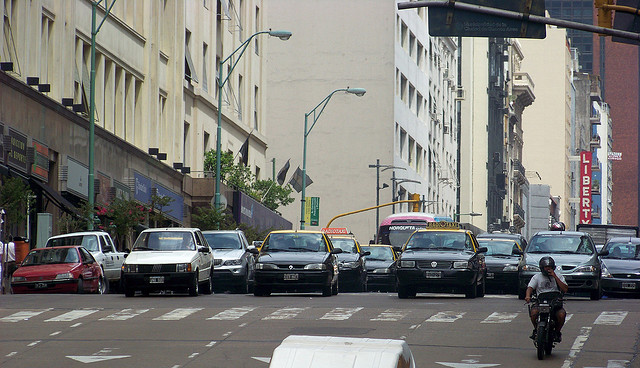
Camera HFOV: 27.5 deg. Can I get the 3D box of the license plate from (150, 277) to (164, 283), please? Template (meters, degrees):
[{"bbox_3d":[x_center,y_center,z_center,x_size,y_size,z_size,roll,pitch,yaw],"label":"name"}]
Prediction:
[{"bbox_3d":[-6.965,4.110,55.848,0.583,0.252,0.077,-1,-8,-10],"label":"license plate"}]

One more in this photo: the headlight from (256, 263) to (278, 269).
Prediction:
[{"bbox_3d":[-2.317,3.539,56.349,0.938,0.255,0.148,-5,-8,23],"label":"headlight"}]

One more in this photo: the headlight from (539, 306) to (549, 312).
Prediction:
[{"bbox_3d":[7.886,4.402,45.957,0.246,0.208,0.118,-1,1,5],"label":"headlight"}]

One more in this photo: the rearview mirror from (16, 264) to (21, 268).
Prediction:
[{"bbox_3d":[-14.091,3.842,61.079,0.150,0.248,0.276,0,-1,0],"label":"rearview mirror"}]

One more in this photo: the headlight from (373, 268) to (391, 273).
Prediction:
[{"bbox_3d":[3.009,4.232,63.624,0.792,0.234,0.139,-2,-8,2],"label":"headlight"}]

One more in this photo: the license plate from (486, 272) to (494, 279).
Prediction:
[{"bbox_3d":[7.873,4.246,60.382,0.395,0.238,0.204,0,-3,6],"label":"license plate"}]

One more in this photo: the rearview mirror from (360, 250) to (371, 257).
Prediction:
[{"bbox_3d":[2.211,3.439,64.139,0.389,0.179,0.480,-1,-4,-2],"label":"rearview mirror"}]

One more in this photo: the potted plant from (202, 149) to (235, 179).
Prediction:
[{"bbox_3d":[-6.807,-1.410,85.170,2.346,1.571,2.211,-1,-30,0],"label":"potted plant"}]

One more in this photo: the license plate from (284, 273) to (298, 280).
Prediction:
[{"bbox_3d":[-1.245,3.984,56.111,0.564,0.278,0.102,-1,-8,-5],"label":"license plate"}]

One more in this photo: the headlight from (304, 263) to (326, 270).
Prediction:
[{"bbox_3d":[-0.194,3.560,56.208,0.900,0.280,0.115,0,-8,-15],"label":"headlight"}]

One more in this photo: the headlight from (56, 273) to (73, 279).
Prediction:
[{"bbox_3d":[-11.396,4.103,58.309,0.708,0.200,0.145,0,-8,-13],"label":"headlight"}]

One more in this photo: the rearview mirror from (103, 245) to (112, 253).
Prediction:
[{"bbox_3d":[-9.905,3.045,60.950,0.311,0.253,0.274,1,-12,-10],"label":"rearview mirror"}]

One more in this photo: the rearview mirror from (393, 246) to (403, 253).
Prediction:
[{"bbox_3d":[3.513,2.904,58.646,0.352,0.345,0.412,3,-17,-4],"label":"rearview mirror"}]

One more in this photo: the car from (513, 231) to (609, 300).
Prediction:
[{"bbox_3d":[10.774,3.675,57.424,3.669,3.006,6.859,1,-1,9],"label":"car"}]

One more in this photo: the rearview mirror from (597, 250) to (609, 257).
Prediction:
[{"bbox_3d":[12.920,3.183,59.912,0.596,0.180,0.398,-6,9,-16],"label":"rearview mirror"}]

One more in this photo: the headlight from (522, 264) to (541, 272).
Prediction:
[{"bbox_3d":[9.036,3.607,55.935,0.737,0.201,0.435,0,-2,15],"label":"headlight"}]

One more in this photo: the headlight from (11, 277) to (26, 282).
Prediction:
[{"bbox_3d":[-13.457,4.261,58.394,0.671,0.218,0.134,-4,-8,14],"label":"headlight"}]

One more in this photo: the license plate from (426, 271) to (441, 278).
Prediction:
[{"bbox_3d":[4.844,3.867,55.817,0.619,0.259,0.053,-2,-8,1],"label":"license plate"}]
